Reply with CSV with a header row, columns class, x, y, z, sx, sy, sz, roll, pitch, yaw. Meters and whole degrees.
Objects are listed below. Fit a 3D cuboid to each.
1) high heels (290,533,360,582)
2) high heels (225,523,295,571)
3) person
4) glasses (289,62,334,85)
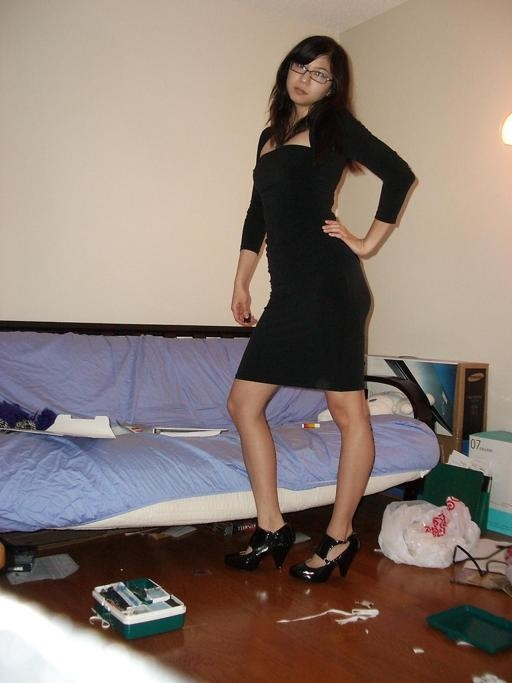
class,x,y,z,sx,sy,sz,roll,pitch,yaw
high heels,0.177,0.537,1.510,0.201,0.122,0.094,2,1,-16
high heels,0.022,0.521,1.534,0.196,0.117,0.099,1,0,5
person,0.152,-0.067,1.546,0.435,1.356,0.382,2,-2,-3
glasses,0.136,-0.643,1.412,0.105,0.051,0.035,2,-2,-7
